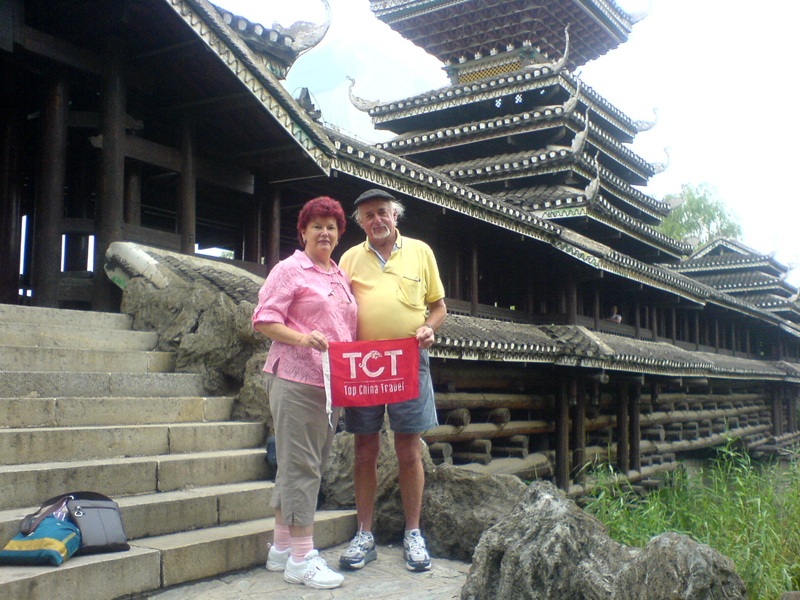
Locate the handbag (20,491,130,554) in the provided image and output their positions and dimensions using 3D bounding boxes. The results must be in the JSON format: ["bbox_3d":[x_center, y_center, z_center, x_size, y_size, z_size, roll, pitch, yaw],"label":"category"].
[{"bbox_3d":[-2.148,1.518,5.024,0.520,0.416,0.201,4,-37,-41],"label":"handbag"}]

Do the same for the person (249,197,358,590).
[{"bbox_3d":[-0.682,0.620,5.381,0.667,2.810,0.496,-1,-7,7],"label":"person"}]

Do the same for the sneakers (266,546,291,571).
[{"bbox_3d":[-0.849,1.921,5.521,0.107,0.174,0.243,3,-9,26],"label":"sneakers"}]

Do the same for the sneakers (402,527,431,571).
[{"bbox_3d":[0.130,1.877,5.589,0.196,0.312,0.184,-1,-7,2],"label":"sneakers"}]
